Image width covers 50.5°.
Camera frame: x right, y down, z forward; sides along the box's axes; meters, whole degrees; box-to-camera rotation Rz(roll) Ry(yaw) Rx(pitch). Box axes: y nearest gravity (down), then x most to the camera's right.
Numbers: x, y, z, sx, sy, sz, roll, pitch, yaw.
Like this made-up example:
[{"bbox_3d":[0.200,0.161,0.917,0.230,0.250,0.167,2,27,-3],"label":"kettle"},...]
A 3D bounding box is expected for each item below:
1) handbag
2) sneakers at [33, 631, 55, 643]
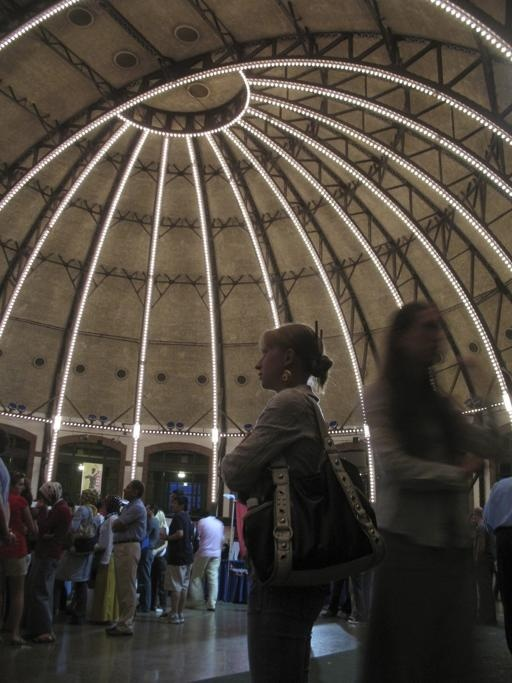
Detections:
[{"bbox_3d":[0.191,0.474,1.836,0.470,0.651,0.252,5,-20,-9],"label":"handbag"},{"bbox_3d":[-2.543,3.542,6.482,0.266,0.104,0.094,7,8,-26],"label":"sneakers"}]
